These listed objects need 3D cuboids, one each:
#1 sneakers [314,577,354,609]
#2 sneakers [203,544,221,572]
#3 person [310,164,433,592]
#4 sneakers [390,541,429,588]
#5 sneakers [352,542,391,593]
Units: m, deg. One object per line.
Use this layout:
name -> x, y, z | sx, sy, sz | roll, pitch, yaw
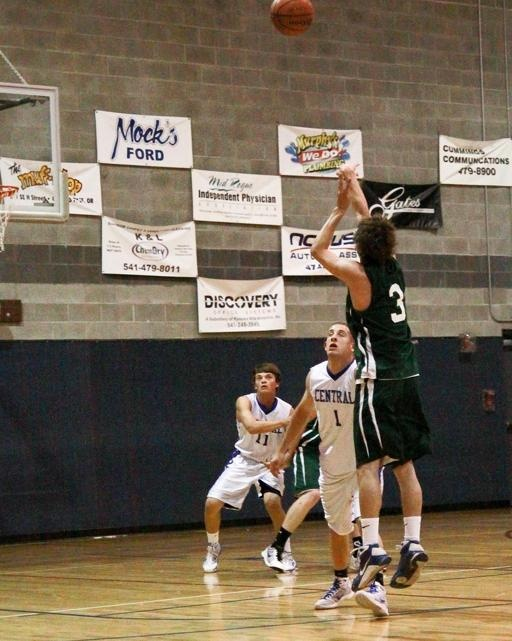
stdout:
sneakers -> 0.403, 1.385, 5.535 | 0.090, 0.116, 0.269 | -5, -5, 40
sneakers -> -0.309, 1.581, 7.273 | 0.075, 0.088, 0.217 | -2, 13, 9
person -> 0.560, 0.231, 5.244 | 0.469, 1.636, 0.583 | -5, -2, 10
sneakers -> 0.718, 1.133, 5.035 | 0.189, 0.180, 0.186 | -5, -2, 32
sneakers -> 0.520, 1.130, 4.976 | 0.178, 0.172, 0.086 | -4, -2, 6
